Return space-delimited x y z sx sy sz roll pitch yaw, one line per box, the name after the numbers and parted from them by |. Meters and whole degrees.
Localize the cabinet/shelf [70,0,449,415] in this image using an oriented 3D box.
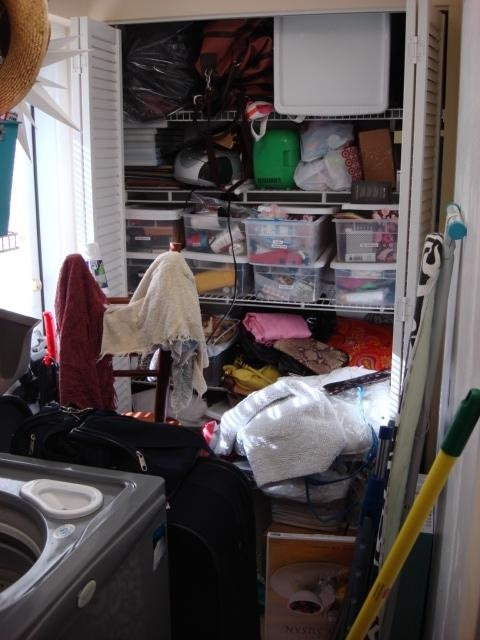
0.134 -0.807 3.114 1.697 2.372 1.135 3 14 12 | cabinet/shelf

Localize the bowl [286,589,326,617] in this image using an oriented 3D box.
0.192 0.827 1.495 0.088 0.064 0.026 1 3 5 | bowl

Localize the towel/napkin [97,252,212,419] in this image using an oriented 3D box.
-0.244 0.015 1.569 0.352 0.502 0.153 6 6 29 | towel/napkin
